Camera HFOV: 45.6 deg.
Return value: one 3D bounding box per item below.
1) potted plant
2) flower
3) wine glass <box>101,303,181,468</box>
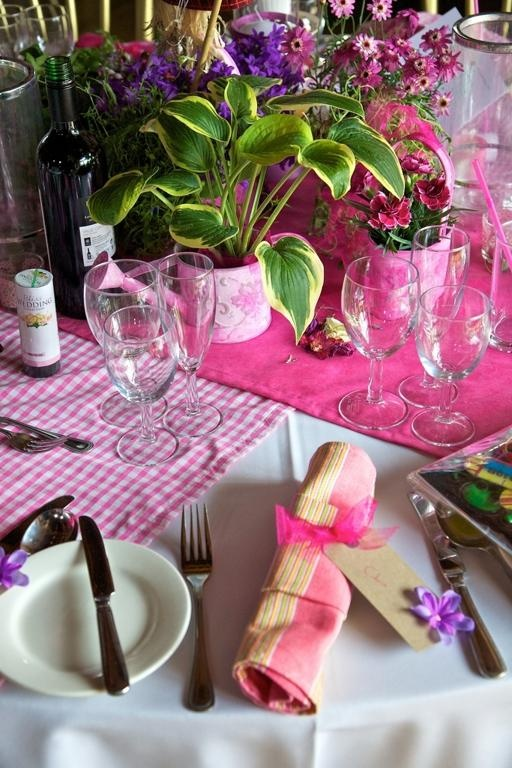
[{"bbox_3d":[-0.055,-0.234,0.802,0.339,0.346,0.175,16,62,-7],"label":"potted plant"},{"bbox_3d":[0.063,-0.311,0.866,0.472,0.205,0.511,-1,33,5],"label":"flower"},{"bbox_3d":[-0.123,-0.005,0.671,0.083,0.171,0.084,14,27,30],"label":"wine glass"}]
